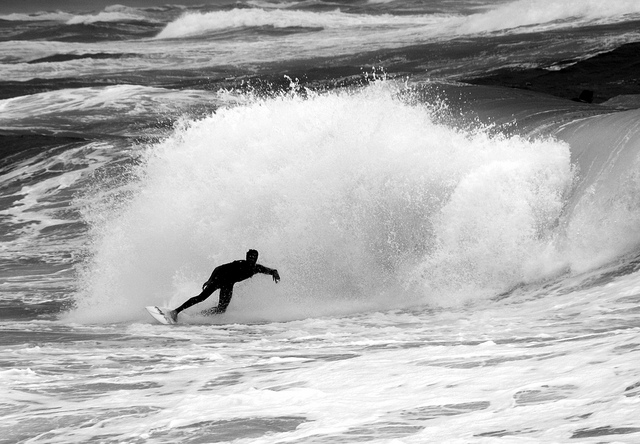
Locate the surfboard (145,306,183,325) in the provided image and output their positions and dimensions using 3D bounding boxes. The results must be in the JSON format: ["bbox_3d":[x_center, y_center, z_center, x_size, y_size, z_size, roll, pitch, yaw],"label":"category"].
[{"bbox_3d":[-3.012,1.809,15.873,0.673,0.322,0.588,-6,22,-10],"label":"surfboard"}]

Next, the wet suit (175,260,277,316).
[{"bbox_3d":[-1.847,1.312,15.912,1.852,1.210,0.430,-1,25,1],"label":"wet suit"}]

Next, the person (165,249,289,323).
[{"bbox_3d":[-1.471,1.101,15.773,1.602,0.433,1.510,1,16,3],"label":"person"}]
